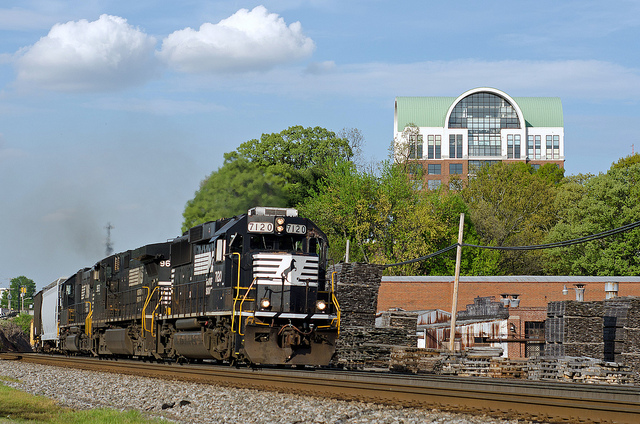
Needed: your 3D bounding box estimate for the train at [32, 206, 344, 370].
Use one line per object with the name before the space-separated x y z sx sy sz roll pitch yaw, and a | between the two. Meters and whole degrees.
train | -8.253 4.769 51.229 5.295 6.652 27.570 6 -11 -31
